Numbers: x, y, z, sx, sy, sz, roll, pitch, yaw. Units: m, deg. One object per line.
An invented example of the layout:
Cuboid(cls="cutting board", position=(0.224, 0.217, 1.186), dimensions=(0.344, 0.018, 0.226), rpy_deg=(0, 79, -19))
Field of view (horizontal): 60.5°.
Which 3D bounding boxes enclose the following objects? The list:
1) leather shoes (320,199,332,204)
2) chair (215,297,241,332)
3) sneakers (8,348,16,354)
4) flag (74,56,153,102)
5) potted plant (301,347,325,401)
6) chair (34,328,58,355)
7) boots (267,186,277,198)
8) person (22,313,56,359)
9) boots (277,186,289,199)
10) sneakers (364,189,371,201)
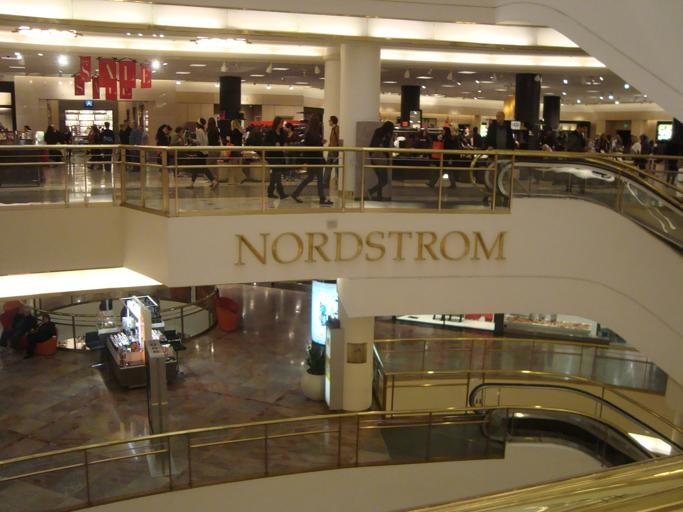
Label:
Cuboid(cls="leather shoes", position=(-0.238, -0.811, 8.786), dimensions=(0.193, 0.080, 0.066), rpy_deg=(-2, 14, 1))
Cuboid(cls="chair", position=(-3.360, 1.778, 16.938), dimensions=(0.670, 0.761, 0.638), rpy_deg=(1, 7, -14))
Cuboid(cls="sneakers", position=(-8.422, 2.411, 14.872), dimensions=(0.144, 0.096, 0.090), rpy_deg=(10, 9, 9))
Cuboid(cls="flag", position=(-5.483, -4.197, 13.906), dimensions=(1.603, 0.924, 2.170), rpy_deg=(-7, 15, -23))
Cuboid(cls="potted plant", position=(-0.624, 2.557, 12.713), dimensions=(0.535, 1.054, 0.527), rpy_deg=(-2, 13, -3))
Cuboid(cls="chair", position=(-7.551, 2.234, 14.916), dimensions=(0.492, 0.574, 0.544), rpy_deg=(6, -1, 40))
Cuboid(cls="boots", position=(-1.032, -0.947, 8.599), dimensions=(0.180, 0.208, 0.098), rpy_deg=(-7, 31, -17))
Cuboid(cls="person", position=(-7.598, 2.056, 14.685), dimensions=(0.761, 0.828, 0.320), rpy_deg=(-9, 15, -30))
Cuboid(cls="boots", position=(-0.883, -0.925, 8.630), dimensions=(0.202, 0.202, 0.095), rpy_deg=(-15, 37, -9))
Cuboid(cls="sneakers", position=(0.395, -0.937, 8.943), dimensions=(0.057, 0.175, 0.119), rpy_deg=(-2, -2, -13))
